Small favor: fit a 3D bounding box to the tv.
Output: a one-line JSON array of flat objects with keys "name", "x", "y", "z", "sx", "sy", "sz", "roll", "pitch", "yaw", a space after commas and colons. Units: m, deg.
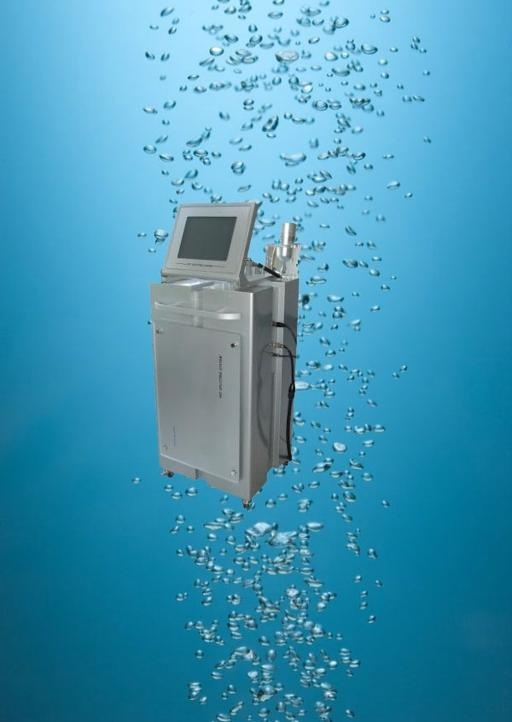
[{"name": "tv", "x": -0.188, "y": -0.464, "z": 2.978, "sx": 0.125, "sy": 0.365, "sz": 0.438, "roll": 15, "pitch": -13, "yaw": -42}]
